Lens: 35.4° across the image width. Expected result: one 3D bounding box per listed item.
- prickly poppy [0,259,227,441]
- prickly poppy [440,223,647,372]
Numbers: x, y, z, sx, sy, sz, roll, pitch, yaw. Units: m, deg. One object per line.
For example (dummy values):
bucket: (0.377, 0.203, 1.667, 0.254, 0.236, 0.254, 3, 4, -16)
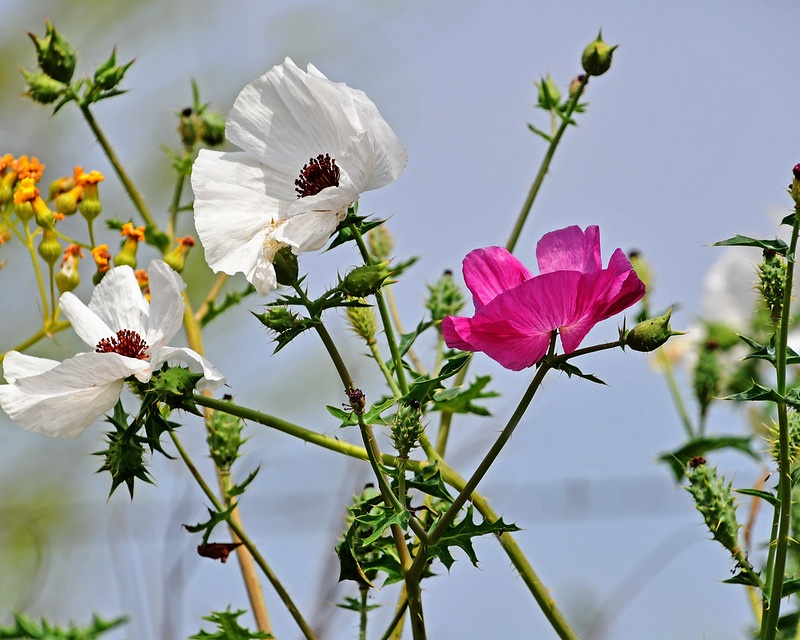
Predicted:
prickly poppy: (-0.397, 0.023, 1.742, 0.319, 0.257, 0.109, -5, -25, 14)
prickly poppy: (0.228, -0.018, 1.719, 0.215, 0.139, 0.261, -18, -7, 1)
